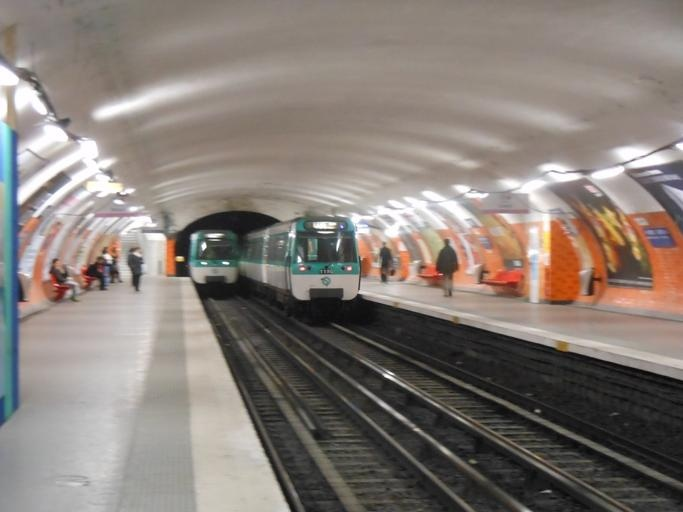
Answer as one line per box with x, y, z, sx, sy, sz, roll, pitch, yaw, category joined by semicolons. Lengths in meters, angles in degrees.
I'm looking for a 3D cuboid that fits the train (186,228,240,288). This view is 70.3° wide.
-7.497;-0.034;28.276;2.642;3.090;1.136;-2;-3;3;train

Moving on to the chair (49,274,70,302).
-9.929;1.111;17.026;0.546;0.944;0.575;-1;-3;-28;chair
